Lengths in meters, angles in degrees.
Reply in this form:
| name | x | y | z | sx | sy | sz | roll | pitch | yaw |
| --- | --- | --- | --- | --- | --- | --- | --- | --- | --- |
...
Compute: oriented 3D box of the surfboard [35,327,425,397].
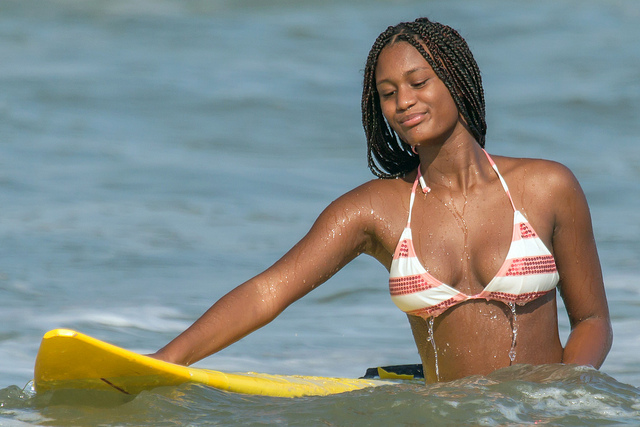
| name | x | y | z | sx | sy | sz | roll | pitch | yaw |
| --- | --- | --- | --- | --- | --- | --- | --- | --- | --- |
| surfboard | -1.000 | 1.530 | 12.473 | 3.440 | 0.539 | 0.613 | 6 | -13 | -20 |
